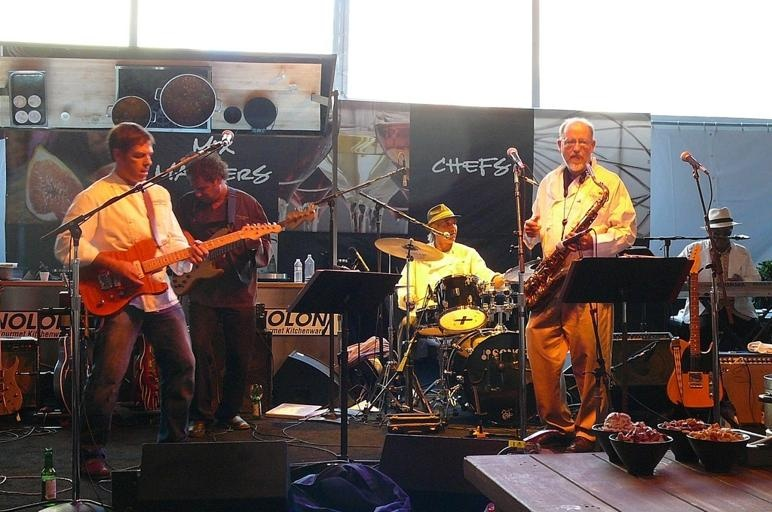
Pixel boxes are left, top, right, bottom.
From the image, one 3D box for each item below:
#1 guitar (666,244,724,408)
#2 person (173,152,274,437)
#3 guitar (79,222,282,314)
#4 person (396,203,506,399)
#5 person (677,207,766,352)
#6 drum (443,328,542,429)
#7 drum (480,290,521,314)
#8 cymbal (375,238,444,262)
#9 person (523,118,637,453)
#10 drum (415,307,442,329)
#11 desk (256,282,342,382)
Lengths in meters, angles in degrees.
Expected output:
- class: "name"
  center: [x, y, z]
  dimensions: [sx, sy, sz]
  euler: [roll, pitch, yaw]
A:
- class: "guitar"
  center: [3.510, 0.831, 10.180]
  dimensions: [0.654, 2.028, 0.653]
  euler: [6, 13, 10]
- class: "person"
  center: [-1.761, 0.362, 10.108]
  dimensions: [1.072, 2.908, 0.840]
  euler: [3, 13, -8]
- class: "guitar"
  center: [-2.001, 0.123, 9.277]
  dimensions: [0.939, 0.932, 1.875]
  euler: [3, 2, 31]
- class: "person"
  center: [0.697, 0.677, 11.401]
  dimensions: [1.270, 2.448, 1.033]
  euler: [1, 11, -3]
- class: "person"
  center: [4.227, 0.274, 11.954]
  dimensions: [1.038, 1.481, 0.896]
  euler: [0, 4, 20]
- class: "drum"
  center: [1.015, 1.202, 10.625]
  dimensions: [1.321, 1.320, 0.928]
  euler: [-2, -1, -2]
- class: "drum"
  center: [1.292, 0.527, 10.804]
  dimensions: [0.353, 0.186, 0.350]
  euler: [0, -6, 0]
- class: "cymbal"
  center: [0.256, -0.067, 10.534]
  dimensions: [0.710, 0.239, 0.494]
  euler: [3, 1, 15]
- class: "person"
  center: [1.813, 0.312, 9.372]
  dimensions: [0.999, 3.376, 1.370]
  euler: [-2, 2, -45]
- class: "drum"
  center: [0.460, 0.683, 10.438]
  dimensions: [0.289, 0.169, 0.256]
  euler: [-4, 1, -30]
- class: "desk"
  center: [-1.107, 0.871, 11.579]
  dimensions: [0.910, 1.176, 0.766]
  euler: [2, 6, 0]
